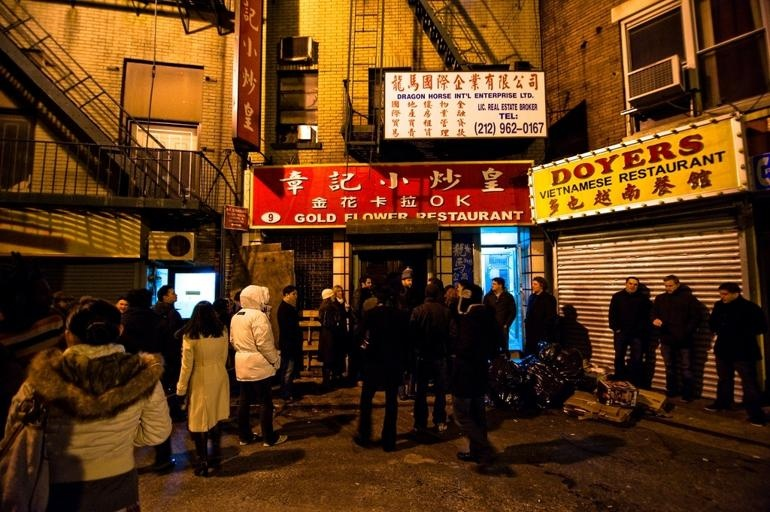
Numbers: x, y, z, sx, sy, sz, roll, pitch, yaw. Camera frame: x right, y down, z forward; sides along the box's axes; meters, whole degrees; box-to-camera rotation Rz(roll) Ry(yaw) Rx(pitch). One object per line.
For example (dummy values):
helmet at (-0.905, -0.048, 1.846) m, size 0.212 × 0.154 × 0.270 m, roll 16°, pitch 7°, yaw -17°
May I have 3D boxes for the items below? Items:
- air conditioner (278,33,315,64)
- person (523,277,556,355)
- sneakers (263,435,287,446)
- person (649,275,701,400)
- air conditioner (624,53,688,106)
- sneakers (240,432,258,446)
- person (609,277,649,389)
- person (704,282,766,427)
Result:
air conditioner at (-2.515, -5.845, 18.997) m, size 1.201 × 0.863 × 0.668 m, roll 1°, pitch 6°, yaw 5°
person at (3.790, 1.454, 16.202) m, size 0.712 × 1.894 × 1.189 m, roll -1°, pitch -4°, yaw 8°
sneakers at (-2.128, 3.557, 12.929) m, size 0.440 × 0.181 × 0.163 m, roll -1°, pitch 1°, yaw -35°
person at (6.529, 1.781, 14.885) m, size 0.968 × 2.713 × 0.519 m, roll -3°, pitch -5°, yaw 29°
air conditioner at (6.484, -4.150, 15.862) m, size 0.450 × 0.899 × 1.262 m, roll 9°, pitch -18°, yaw -35°
sneakers at (-2.658, 3.501, 12.946) m, size 0.185 × 0.238 × 0.369 m, roll 3°, pitch 3°, yaw 34°
person at (5.675, 1.751, 15.492) m, size 0.911 × 2.499 × 0.416 m, roll -2°, pitch -4°, yaw 17°
person at (7.322, 1.965, 13.898) m, size 0.506 × 2.829 × 1.002 m, roll 3°, pitch -5°, yaw -39°
